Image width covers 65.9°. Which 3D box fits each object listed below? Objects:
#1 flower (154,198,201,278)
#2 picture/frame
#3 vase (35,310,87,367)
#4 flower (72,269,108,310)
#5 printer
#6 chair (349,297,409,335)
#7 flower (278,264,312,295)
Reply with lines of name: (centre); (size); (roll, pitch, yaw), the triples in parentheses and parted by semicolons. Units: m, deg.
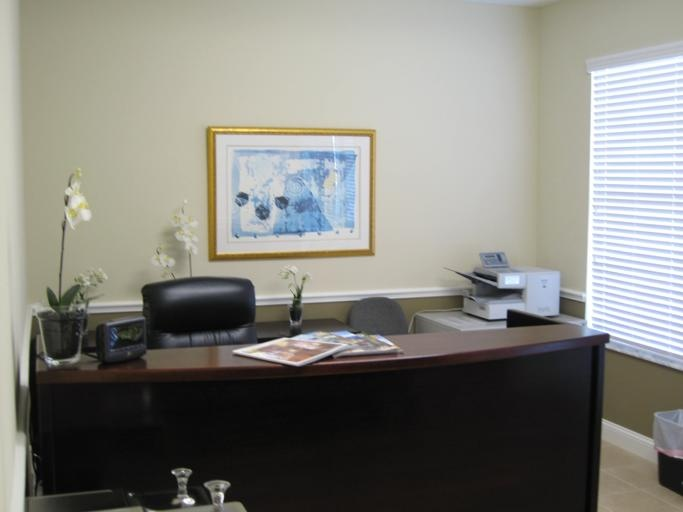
flower: (-1.255, -0.126, 4.017); (0.350, 0.602, 0.206); (-2, 9, -21)
picture/frame: (-0.450, -0.532, 4.240); (1.091, 0.833, 0.046); (-1, 5, -12)
vase: (-1.093, 0.315, 2.058); (0.178, 0.214, 0.173); (-3, -7, -9)
flower: (-1.834, 0.223, 3.814); (0.179, 0.282, 0.212); (27, 10, 16)
printer: (1.397, 0.203, 4.492); (0.721, 0.499, 0.504); (-3, 7, -21)
chair: (0.289, 0.480, 4.377); (0.321, 0.447, 0.365); (0, -8, -13)
flower: (-0.362, 0.205, 4.110); (0.224, 0.278, 0.489); (1, 8, -6)
